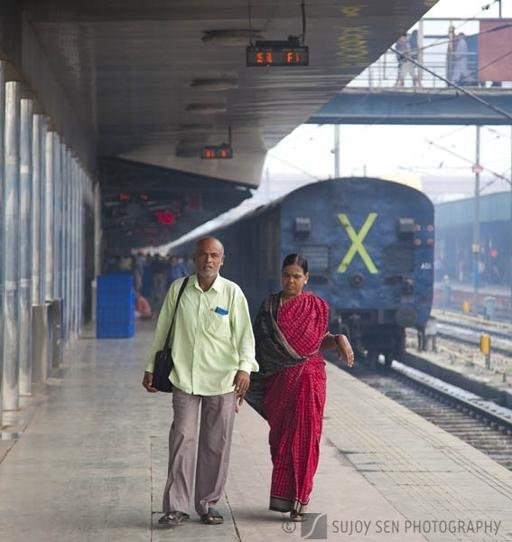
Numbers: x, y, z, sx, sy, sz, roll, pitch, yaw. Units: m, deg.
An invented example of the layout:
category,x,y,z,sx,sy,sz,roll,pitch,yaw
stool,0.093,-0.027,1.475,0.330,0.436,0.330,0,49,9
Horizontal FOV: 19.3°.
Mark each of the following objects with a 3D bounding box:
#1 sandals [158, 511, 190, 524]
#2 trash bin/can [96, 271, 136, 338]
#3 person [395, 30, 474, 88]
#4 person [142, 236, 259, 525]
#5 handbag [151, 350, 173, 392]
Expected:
category,x,y,z,sx,sy,sz,roll,pitch,yaw
sandals,-0.676,2.026,12.413,0.247,0.106,0.106,6,-7,-26
trash bin/can,-2.071,0.562,22.236,0.624,1.008,0.653,2,-7,-19
person,2.243,-2.677,19.076,1.201,0.709,0.709,7,6,25
person,-0.463,0.910,12.468,0.852,2.367,0.476,4,5,-4
handbag,-0.768,0.830,12.453,0.141,0.388,0.283,6,-7,-10
